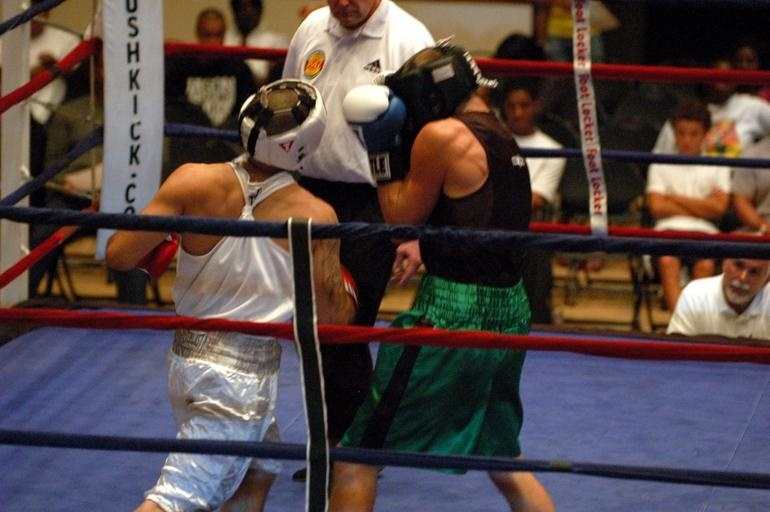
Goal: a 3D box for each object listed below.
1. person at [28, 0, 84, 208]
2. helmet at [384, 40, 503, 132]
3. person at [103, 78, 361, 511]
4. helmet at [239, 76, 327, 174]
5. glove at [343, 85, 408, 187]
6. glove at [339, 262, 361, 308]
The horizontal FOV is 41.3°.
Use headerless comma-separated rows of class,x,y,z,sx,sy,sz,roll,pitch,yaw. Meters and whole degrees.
person,-1.820,-0.820,5.624,0.250,1.155,0.686,2,13,-19
helmet,0.210,-0.655,4.054,0.277,0.418,0.307,53,-4,35
person,-0.554,0.213,3.781,0.931,1.720,0.514,3,13,-14
helmet,-0.341,-0.468,3.885,0.392,0.272,0.334,9,-30,-1
glove,-0.011,-0.463,4.003,0.313,0.359,0.151,-4,23,22
glove,-0.144,0.112,4.053,0.037,0.136,0.096,-24,-19,13
